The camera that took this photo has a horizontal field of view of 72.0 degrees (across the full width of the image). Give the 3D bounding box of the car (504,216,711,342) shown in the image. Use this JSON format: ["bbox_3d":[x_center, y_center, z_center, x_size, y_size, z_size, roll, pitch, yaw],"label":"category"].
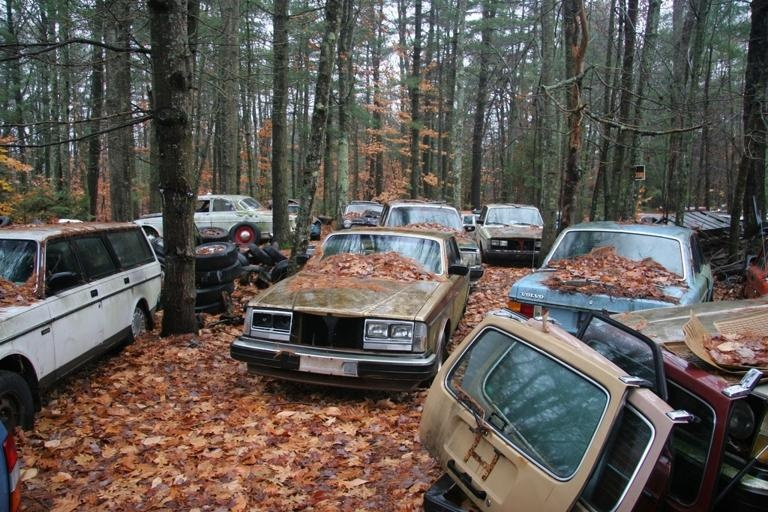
[{"bbox_3d":[3.517,0.250,7.847,1.829,1.077,3.263,8,18,36],"label":"car"}]

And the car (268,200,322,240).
[{"bbox_3d":[-3.327,-1.321,20.601,2.079,1.443,3.414,0,6,-9],"label":"car"}]

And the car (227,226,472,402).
[{"bbox_3d":[-0.079,0.351,9.347,2.988,1.628,5.259,3,15,17],"label":"car"}]

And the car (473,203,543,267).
[{"bbox_3d":[3.801,-0.837,16.003,1.961,1.492,3.520,0,16,2],"label":"car"}]
